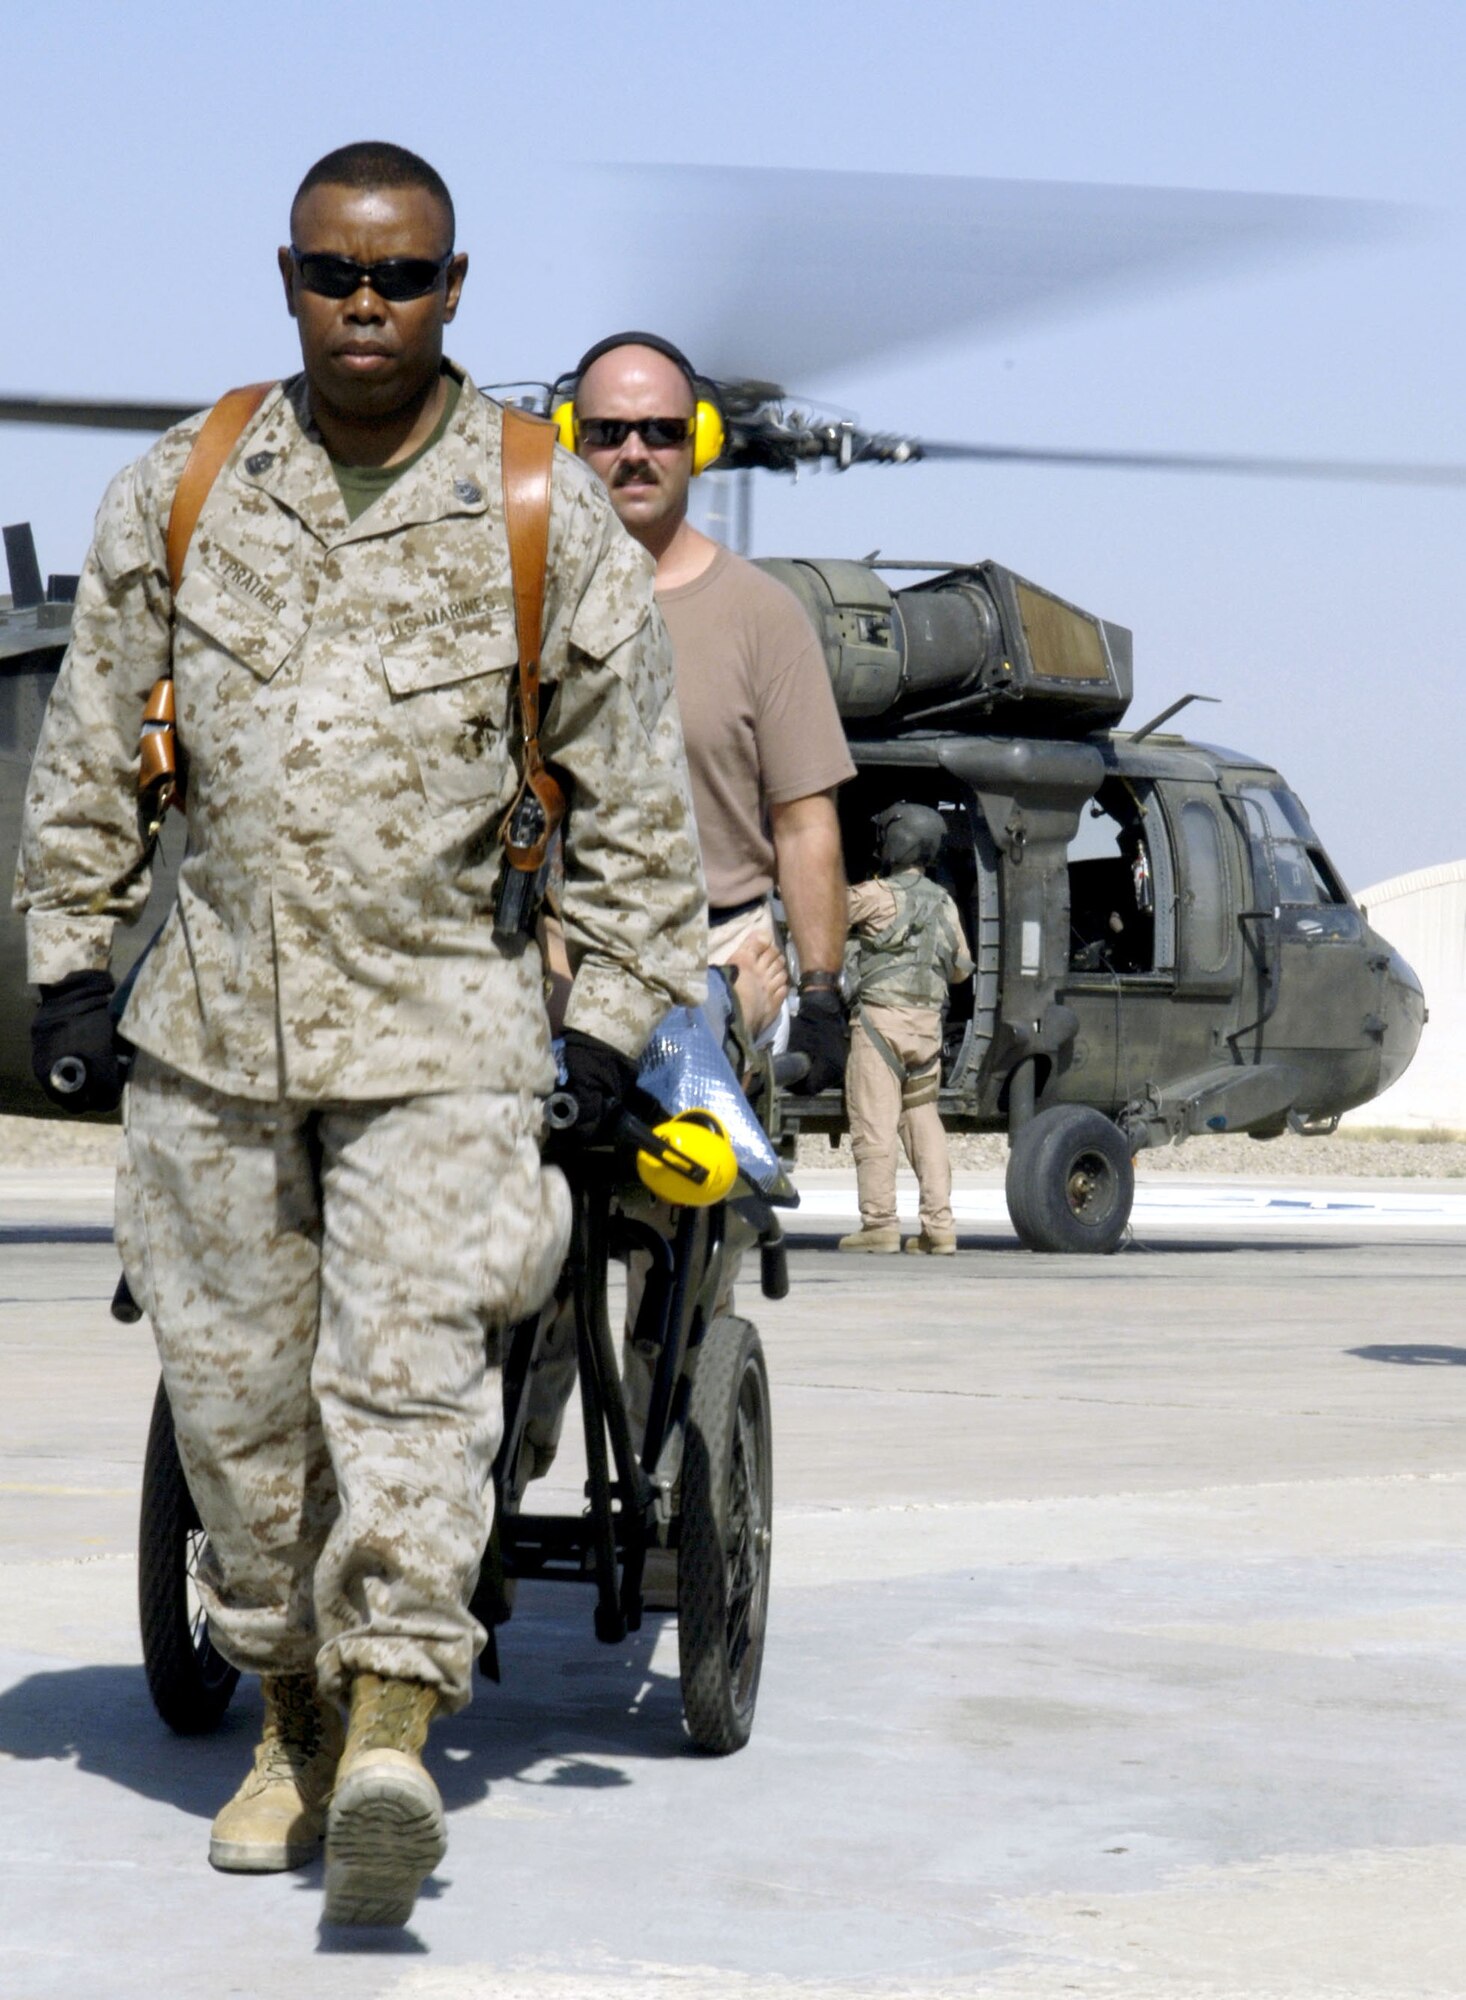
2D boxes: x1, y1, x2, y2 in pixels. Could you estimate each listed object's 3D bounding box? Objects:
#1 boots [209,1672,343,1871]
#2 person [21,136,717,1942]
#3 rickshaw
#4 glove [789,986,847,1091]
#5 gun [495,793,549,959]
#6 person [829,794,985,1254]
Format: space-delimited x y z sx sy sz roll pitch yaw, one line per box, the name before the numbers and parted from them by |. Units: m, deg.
boots | -0.477 0.801 3.241 0.115 0.184 0.321 2 -6 3
person | -0.433 0.002 3.198 0.600 1.759 0.611 0 -1 23
rickshaw | -0.301 0.438 3.689 0.584 0.652 1.145 2 0 19
glove | 0.128 0.045 4.481 0.045 0.131 0.103 4 10 -5
gun | -0.211 -0.131 3.150 0.050 0.165 0.095 3 3 4
person | 0.604 0.080 13.088 0.860 1.891 0.694 2 -2 -30
